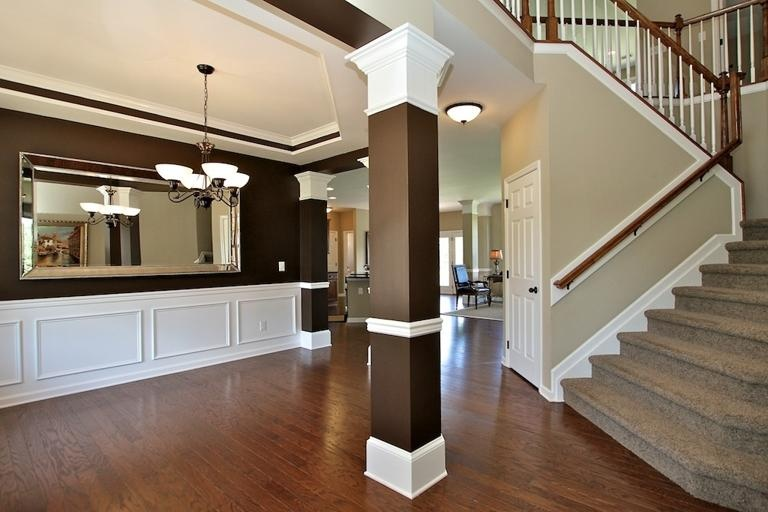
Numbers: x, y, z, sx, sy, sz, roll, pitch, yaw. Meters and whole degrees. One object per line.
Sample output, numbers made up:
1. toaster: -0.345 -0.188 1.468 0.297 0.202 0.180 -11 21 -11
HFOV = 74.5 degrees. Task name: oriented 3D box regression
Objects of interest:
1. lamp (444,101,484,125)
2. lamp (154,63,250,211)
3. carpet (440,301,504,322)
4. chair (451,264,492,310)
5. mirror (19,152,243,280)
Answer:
1. lamp: 0.989 -1.782 6.288 0.497 0.195 0.304 -3 1 11
2. lamp: -2.082 -1.379 5.885 1.106 1.572 1.094 13 21 13
3. carpet: 1.919 1.212 10.809 1.193 0.077 2.096 -3 1 14
4. chair: 2.010 0.687 11.693 0.711 0.945 0.651 0 0 43
5. mirror: -3.269 -0.374 6.510 2.564 1.511 0.051 0 5 -7
